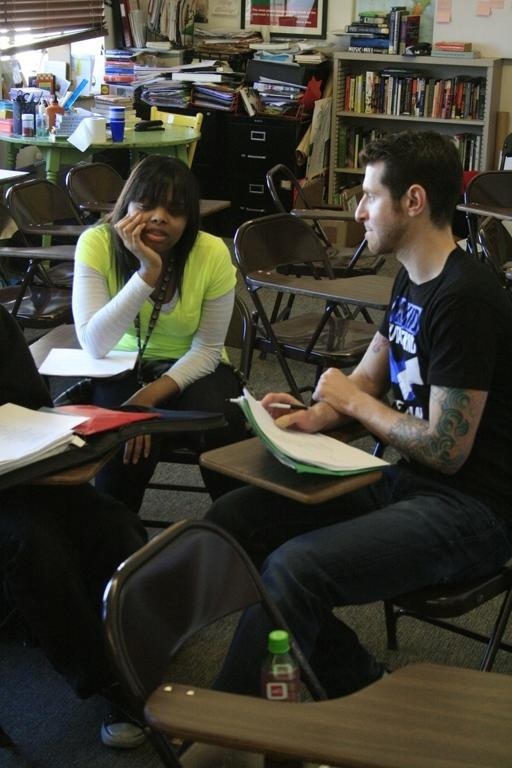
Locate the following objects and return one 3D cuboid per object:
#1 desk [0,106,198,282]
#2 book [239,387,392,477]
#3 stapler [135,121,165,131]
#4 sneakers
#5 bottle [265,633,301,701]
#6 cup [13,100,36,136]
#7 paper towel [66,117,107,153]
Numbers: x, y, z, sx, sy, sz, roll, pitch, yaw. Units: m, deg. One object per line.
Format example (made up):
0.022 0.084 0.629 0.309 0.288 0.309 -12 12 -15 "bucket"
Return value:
-1.304 -1.442 4.918 1.511 1.121 1.508 20 29 40 "desk"
0.106 0.118 1.090 0.207 0.074 0.192 25 1 -39 "book"
-0.852 -2.051 4.717 0.282 0.101 0.085 -14 27 -31 "stapler"
-0.314 0.679 1.320 0.086 0.129 0.198 -3 18 -23 "sneakers"
0.038 0.424 0.878 0.053 0.148 0.050 -3 24 1 "bottle"
-1.717 -1.973 4.352 0.154 0.264 0.150 2 21 -1 "cup"
-1.195 -1.778 4.209 0.203 0.230 0.310 28 46 19 "paper towel"
